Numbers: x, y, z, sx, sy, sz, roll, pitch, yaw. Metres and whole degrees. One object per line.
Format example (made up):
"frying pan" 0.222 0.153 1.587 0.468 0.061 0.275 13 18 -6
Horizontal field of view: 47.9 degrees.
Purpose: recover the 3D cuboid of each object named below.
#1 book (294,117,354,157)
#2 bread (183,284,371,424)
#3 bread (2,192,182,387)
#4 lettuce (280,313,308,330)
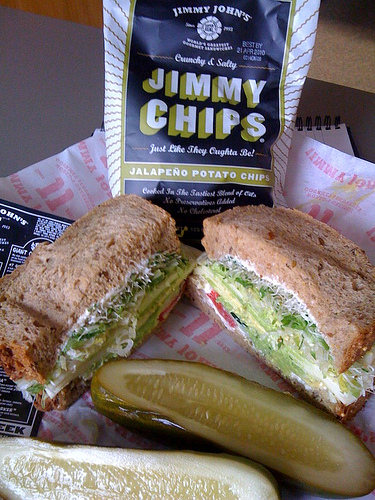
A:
"book" 0.748 -0.642 2.333 0.295 0.091 0.304 2 43 7
"bread" 0.302 0.236 1.572 0.572 0.433 0.529 4 26 10
"bread" -0.285 0.119 1.555 0.428 0.253 0.755 32 74 35
"lettuce" 0.344 0.229 1.356 0.073 0.038 0.017 20 19 18
